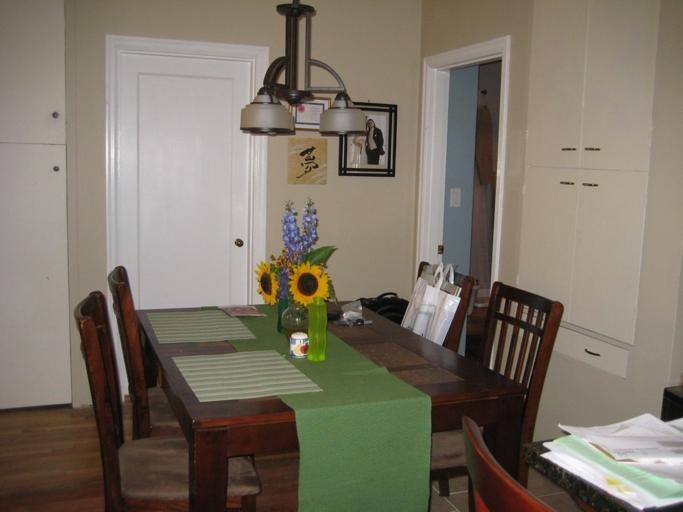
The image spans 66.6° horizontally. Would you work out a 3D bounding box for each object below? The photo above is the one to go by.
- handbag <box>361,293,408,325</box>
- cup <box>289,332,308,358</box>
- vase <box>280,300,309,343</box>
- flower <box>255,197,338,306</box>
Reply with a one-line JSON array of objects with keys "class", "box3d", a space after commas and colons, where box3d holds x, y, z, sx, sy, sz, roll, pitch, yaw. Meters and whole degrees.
[{"class": "handbag", "box3d": [0.314, 0.362, 3.775, 0.197, 0.124, 0.289, -2, 2, -15]}, {"class": "cup", "box3d": [-0.173, 0.367, 2.148, 0.082, 0.106, 0.089, 1, -4, 0]}, {"class": "vase", "box3d": [-0.193, 0.290, 2.303, 0.134, 0.209, 0.145, 0, 2, 7]}, {"class": "flower", "box3d": [-0.212, -0.005, 2.359, 0.255, 0.514, 0.380, -3, 11, -25]}]
